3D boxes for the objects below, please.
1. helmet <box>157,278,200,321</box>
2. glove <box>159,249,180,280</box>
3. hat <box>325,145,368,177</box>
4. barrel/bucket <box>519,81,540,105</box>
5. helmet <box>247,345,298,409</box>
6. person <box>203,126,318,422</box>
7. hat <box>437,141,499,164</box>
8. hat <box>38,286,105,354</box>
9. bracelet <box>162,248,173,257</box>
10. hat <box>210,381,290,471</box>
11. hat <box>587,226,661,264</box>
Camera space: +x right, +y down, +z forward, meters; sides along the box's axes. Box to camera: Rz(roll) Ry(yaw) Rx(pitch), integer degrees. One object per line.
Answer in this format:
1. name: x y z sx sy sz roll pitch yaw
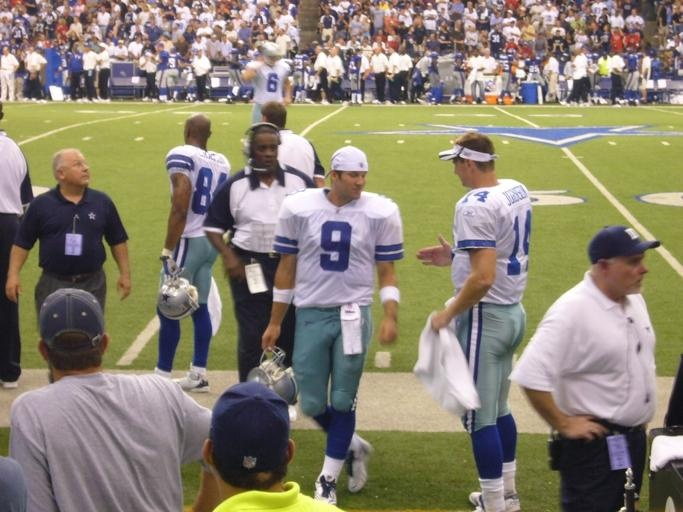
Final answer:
1. helmet: -1.324 0.346 9.115 0.275 0.288 0.336 3 0 -2
2. glove: -1.403 0.077 9.124 0.081 0.222 0.158 -33 10 2
3. hat: 0.037 -0.660 7.756 0.198 0.140 0.204 -1 10 -15
4. barrel/bucket: 5.492 -4.670 32.089 0.660 0.695 0.650 -1 -1 0
5. helmet: -0.498 0.830 7.893 0.399 0.351 0.288 21 20 20
6. person: -0.535 0.075 8.667 0.887 2.234 0.651 -8 25 -14
7. hat: 0.873 -0.704 7.775 0.268 0.083 0.174 9 6 17
8. hat: -1.527 0.314 6.347 0.380 0.284 0.551 0 15 -7
9. bracelet: -1.416 -0.029 9.122 0.070 0.056 0.072 -1 -1 28
10. hat: -0.461 0.842 5.857 0.441 0.342 0.634 4 17 -5
11. hat: 1.700 -0.076 6.861 0.345 0.184 0.225 -4 9 21
